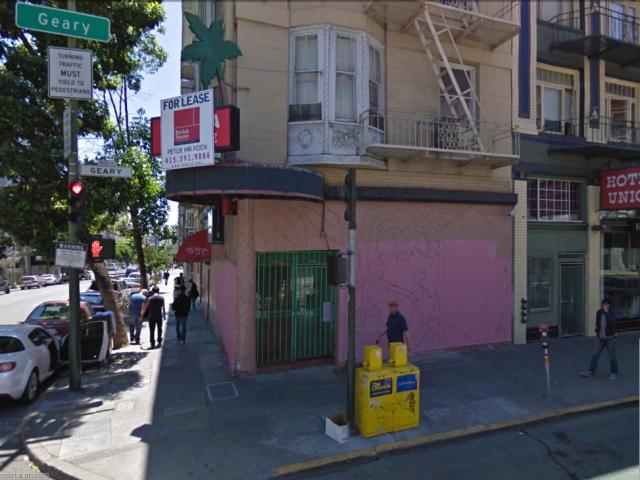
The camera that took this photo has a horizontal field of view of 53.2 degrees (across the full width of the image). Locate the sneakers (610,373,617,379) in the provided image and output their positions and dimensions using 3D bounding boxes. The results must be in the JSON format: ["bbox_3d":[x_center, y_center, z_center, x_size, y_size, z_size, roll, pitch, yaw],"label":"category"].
[{"bbox_3d":[8.637,4.013,18.788,0.102,0.142,0.308,-7,-15,42],"label":"sneakers"}]

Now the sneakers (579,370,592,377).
[{"bbox_3d":[7.894,3.956,18.919,0.114,0.189,0.361,8,-5,-19],"label":"sneakers"}]

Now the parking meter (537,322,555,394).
[{"bbox_3d":[6.318,3.286,17.864,0.313,1.978,0.324,-6,-5,24],"label":"parking meter"}]

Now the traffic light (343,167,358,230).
[{"bbox_3d":[0.778,-1.049,16.449,0.297,1.558,0.288,-2,2,18],"label":"traffic light"}]

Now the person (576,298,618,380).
[{"bbox_3d":[8.394,2.898,18.966,1.002,2.309,0.565,-3,2,7],"label":"person"}]

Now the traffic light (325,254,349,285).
[{"bbox_3d":[0.425,0.775,16.160,0.477,0.798,0.462,-3,2,-3],"label":"traffic light"}]

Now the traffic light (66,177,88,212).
[{"bbox_3d":[-6.878,-1.285,17.984,0.438,0.743,0.265,-5,3,-32],"label":"traffic light"}]
